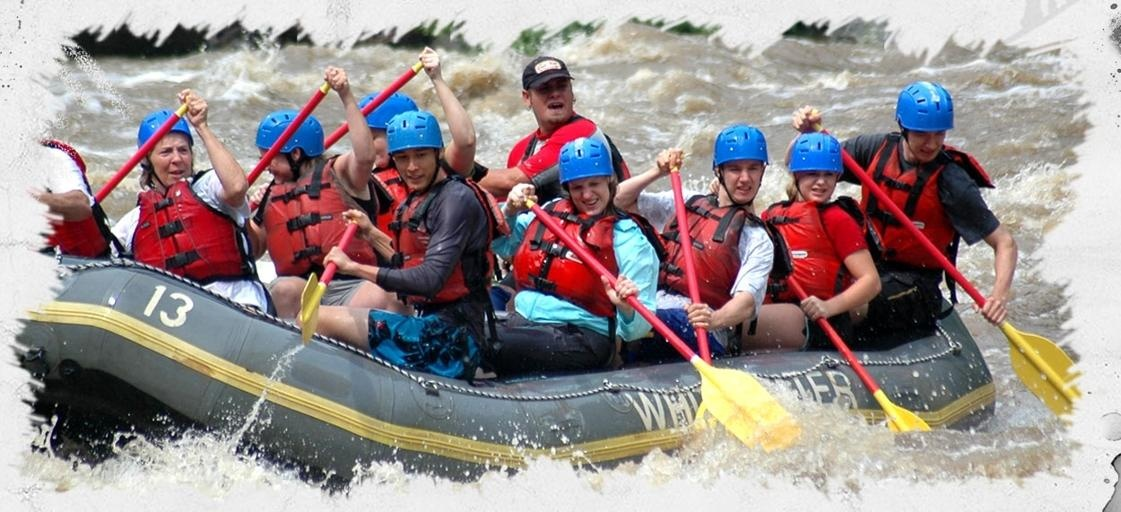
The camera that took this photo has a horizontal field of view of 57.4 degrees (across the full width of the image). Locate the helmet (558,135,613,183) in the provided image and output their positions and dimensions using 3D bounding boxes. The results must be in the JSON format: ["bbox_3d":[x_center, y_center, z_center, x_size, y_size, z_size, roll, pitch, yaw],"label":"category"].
[{"bbox_3d":[0.305,-1.065,12.010,0.500,0.600,0.421,-7,54,10],"label":"helmet"}]

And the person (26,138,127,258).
[{"bbox_3d":[-5.566,-0.645,11.824,0.800,1.361,0.600,-10,16,-27],"label":"person"}]

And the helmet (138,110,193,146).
[{"bbox_3d":[-4.748,-1.533,12.430,0.523,0.612,0.536,-2,49,-21],"label":"helmet"}]

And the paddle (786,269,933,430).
[{"bbox_3d":[3.600,1.194,12.589,0.416,2.352,0.164,-37,-13,-7],"label":"paddle"}]

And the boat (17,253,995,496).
[{"bbox_3d":[-0.983,1.642,11.762,8.163,1.185,3.533,10,-3,-25],"label":"boat"}]

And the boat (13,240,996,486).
[{"bbox_3d":[-0.813,1.665,11.839,8.186,1.212,3.531,11,-2,-26],"label":"boat"}]
